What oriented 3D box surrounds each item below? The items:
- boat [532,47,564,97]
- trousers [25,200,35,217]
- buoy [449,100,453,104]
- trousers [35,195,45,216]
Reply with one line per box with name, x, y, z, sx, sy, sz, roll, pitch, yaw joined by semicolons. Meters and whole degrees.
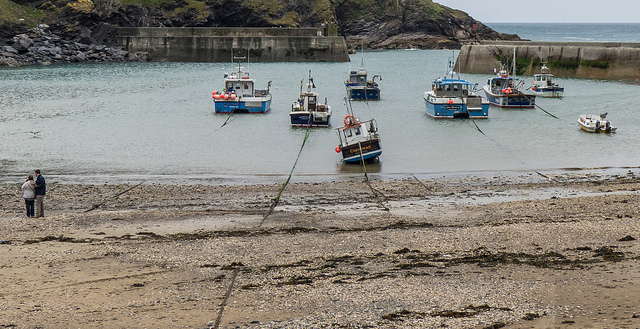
boat;30.408;-11.784;129.061;3.604;3.787;9.464;0;17;13
trousers;-28.634;4.245;94.645;0.815;1.571;0.793;-6;17;-14
buoy;15.802;-7.572;114.234;0.419;0.316;0.343;8;33;7
trousers;-27.696;3.980;94.598;0.760;2.029;0.940;-2;16;-2
